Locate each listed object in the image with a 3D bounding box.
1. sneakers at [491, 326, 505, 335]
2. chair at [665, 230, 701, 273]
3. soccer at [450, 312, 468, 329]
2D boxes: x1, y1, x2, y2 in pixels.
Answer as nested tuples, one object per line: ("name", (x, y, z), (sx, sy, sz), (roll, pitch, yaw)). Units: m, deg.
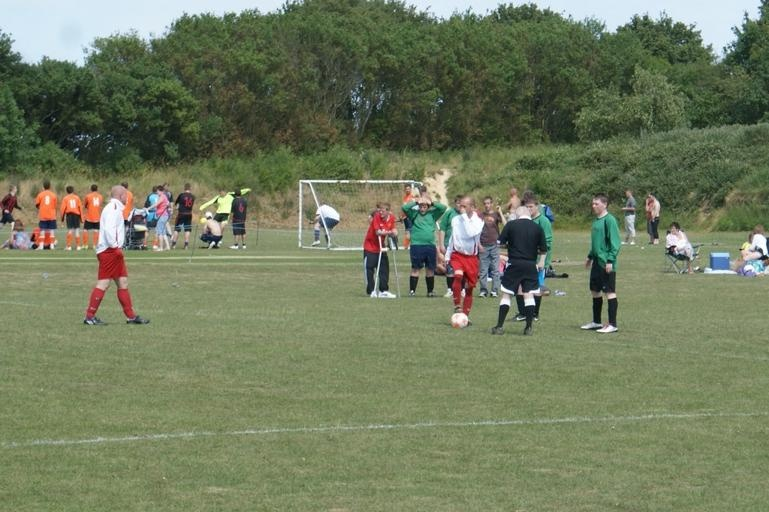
("sneakers", (3.851, 2.469, 45.825), (0.411, 0.259, 0.233), (5, -6, -9))
("chair", (12.318, -0.332, 55.715), (1.158, 1.813, 1.193), (-9, 10, -30))
("soccer", (2.520, 2.173, 46.134), (0.509, 0.484, 0.502), (-9, 5, 29))
